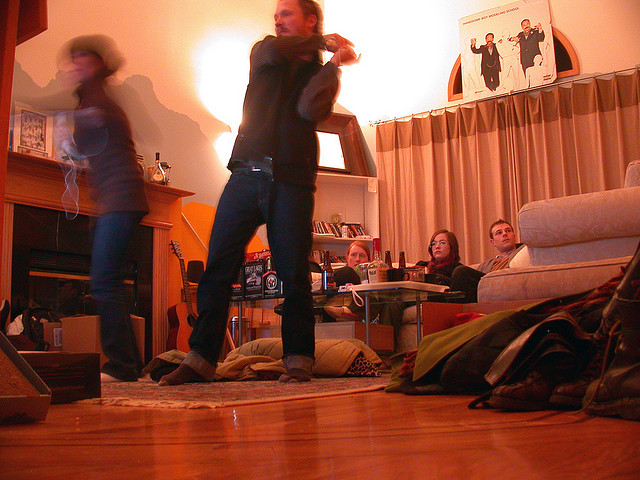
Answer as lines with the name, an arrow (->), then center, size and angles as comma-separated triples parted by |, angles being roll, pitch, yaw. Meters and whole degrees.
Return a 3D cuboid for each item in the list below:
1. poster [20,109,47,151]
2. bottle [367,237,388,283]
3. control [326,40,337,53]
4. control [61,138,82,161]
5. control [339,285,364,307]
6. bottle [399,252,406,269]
poster -> -2.127, -0.820, 3.765 | 0.022, 0.269, 0.192 | -6, -8, 27
bottle -> 0.300, 0.130, 2.639 | 0.110, 0.277, 0.110 | -4, -2, 0
control -> 0.043, -0.686, 1.792 | 0.016, 0.043, 0.031 | -17, -7, -43
control -> -0.972, -0.357, 1.973 | 0.059, 0.079, 0.030 | -20, 23, 44
control -> 0.179, 0.314, 2.684 | 0.085, 0.039, 0.142 | 1, -34, 44
bottle -> 0.495, 0.117, 3.076 | 0.031, 0.080, 0.065 | -3, -7, 8
